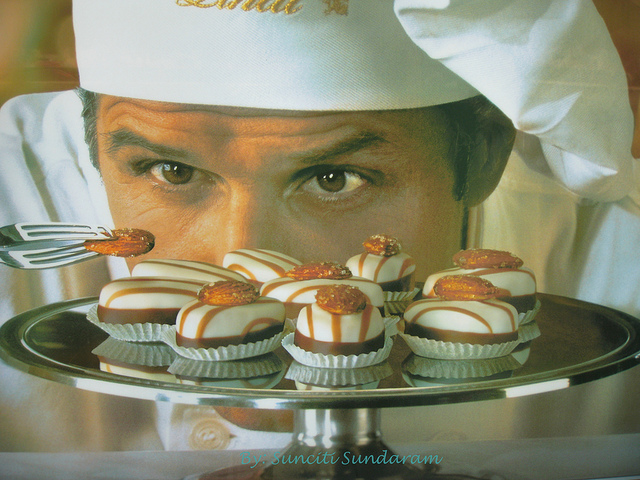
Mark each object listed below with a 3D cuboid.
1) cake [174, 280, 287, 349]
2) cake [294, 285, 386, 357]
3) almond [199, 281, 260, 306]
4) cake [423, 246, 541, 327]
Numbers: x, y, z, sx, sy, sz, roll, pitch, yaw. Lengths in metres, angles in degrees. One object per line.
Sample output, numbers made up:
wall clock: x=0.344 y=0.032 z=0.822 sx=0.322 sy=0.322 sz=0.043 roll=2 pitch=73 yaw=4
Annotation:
cake: x=-0.241 y=0.205 z=2.039 sx=0.445 sy=0.144 sz=0.194 roll=-2 pitch=20 yaw=-13
cake: x=0.050 y=0.194 z=2.084 sx=0.296 sy=0.112 sz=0.221 roll=2 pitch=23 yaw=-8
almond: x=-0.258 y=0.147 z=2.071 sx=0.168 sy=0.057 sz=0.071 roll=-4 pitch=16 yaw=-5
cake: x=0.501 y=0.133 z=2.311 sx=0.367 sy=0.173 sz=0.291 roll=3 pitch=15 yaw=13
